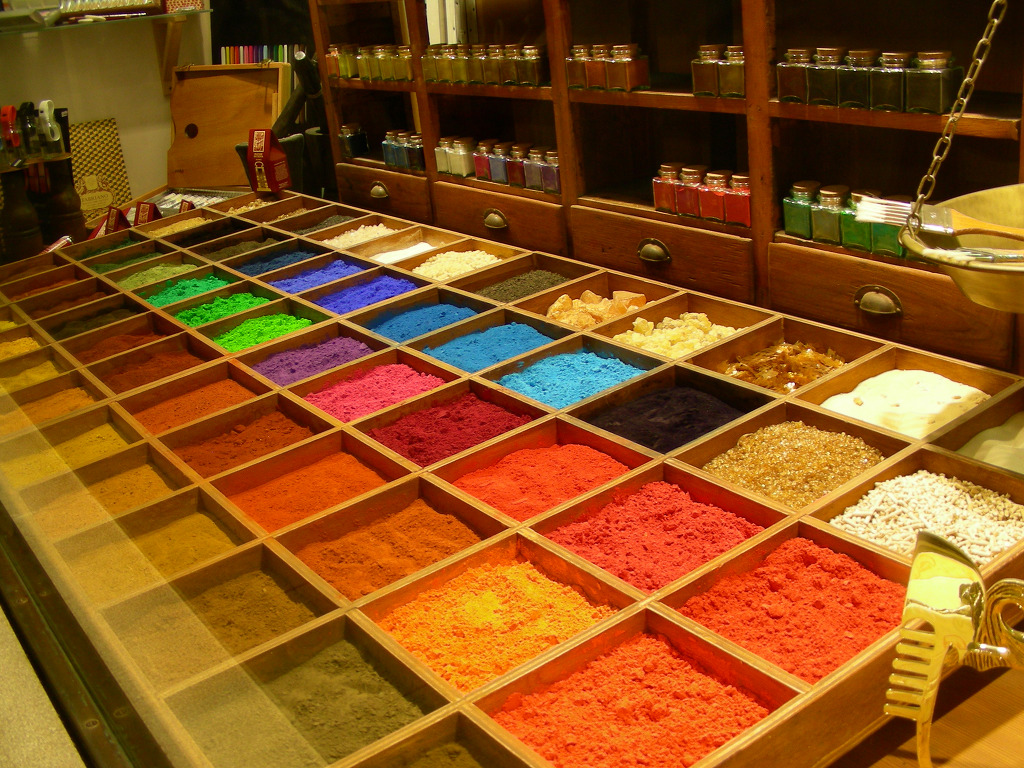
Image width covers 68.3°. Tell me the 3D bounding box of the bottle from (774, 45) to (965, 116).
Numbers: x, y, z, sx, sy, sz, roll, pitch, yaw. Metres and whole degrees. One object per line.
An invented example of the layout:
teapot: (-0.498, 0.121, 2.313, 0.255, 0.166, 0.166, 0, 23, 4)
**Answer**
bottle: (0.979, -0.840, 2.085, 0.138, 0.161, 0.517, -22, 31, -35)

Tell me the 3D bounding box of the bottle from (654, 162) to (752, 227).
bottle: (0.644, -0.632, 2.552, 0.355, 0.119, 0.103, 20, 38, 41)

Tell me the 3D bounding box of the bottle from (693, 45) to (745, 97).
bottle: (0.645, -0.974, 2.345, 0.091, 0.154, 0.196, -11, 27, -17)

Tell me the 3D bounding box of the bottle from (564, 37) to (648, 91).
bottle: (0.340, -1.124, 2.689, 0.090, 0.148, 0.333, -24, 33, -35)
